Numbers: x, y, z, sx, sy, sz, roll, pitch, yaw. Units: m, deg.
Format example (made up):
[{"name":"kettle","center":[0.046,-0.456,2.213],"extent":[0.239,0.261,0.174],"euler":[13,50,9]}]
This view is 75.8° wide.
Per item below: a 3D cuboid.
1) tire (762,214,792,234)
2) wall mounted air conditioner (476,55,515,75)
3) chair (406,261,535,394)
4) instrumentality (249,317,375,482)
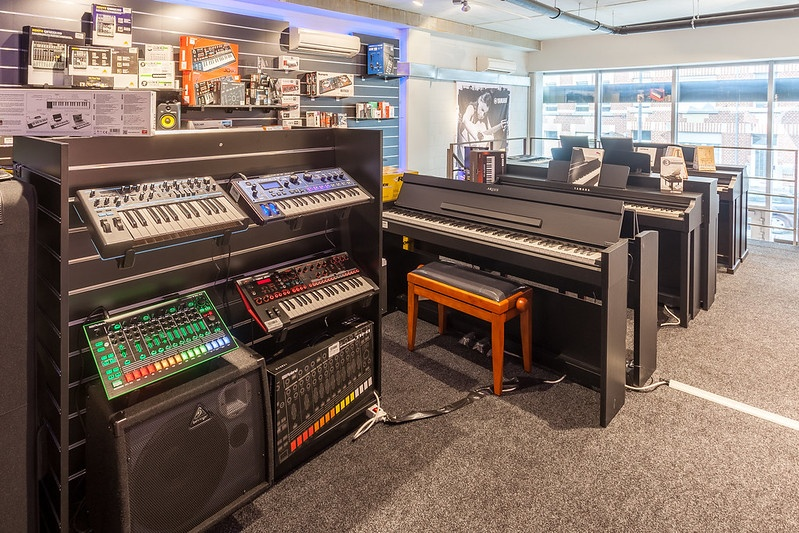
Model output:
[{"name":"tire","center":[5.998,-0.676,8.182],"extent":[0.308,0.319,0.114],"euler":[-2,-1,8]},{"name":"wall mounted air conditioner","center":[1.823,-3.817,9.818],"extent":[0.201,0.298,1.069],"euler":[18,27,41]},{"name":"chair","center":[0.555,0.446,4.245],"extent":[0.468,0.797,1.118],"euler":[-18,24,-39]},{"name":"instrumentality","center":[-0.570,0.864,3.248],"extent":[0.336,0.792,0.885],"euler":[5,15,40]}]
